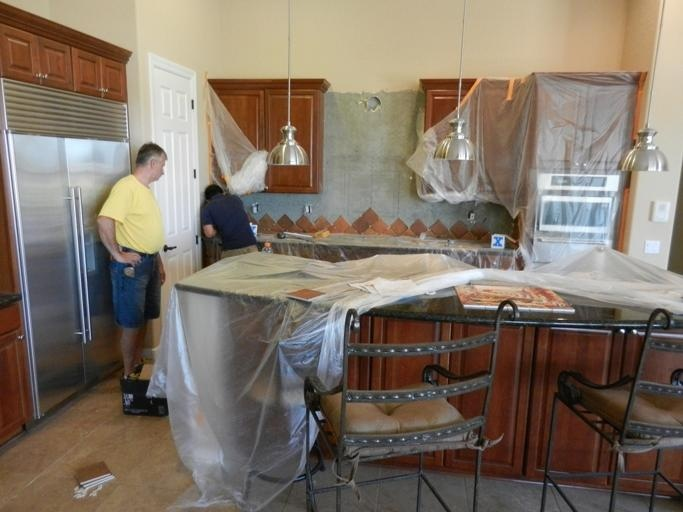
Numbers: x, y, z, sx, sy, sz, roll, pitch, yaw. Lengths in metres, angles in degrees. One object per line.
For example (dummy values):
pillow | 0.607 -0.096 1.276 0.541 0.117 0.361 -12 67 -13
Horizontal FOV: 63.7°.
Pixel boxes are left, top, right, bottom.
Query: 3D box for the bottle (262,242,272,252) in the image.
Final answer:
bottle | -0.757 -0.096 5.651 0.095 0.113 0.098 1 2 4

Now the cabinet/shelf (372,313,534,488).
cabinet/shelf | 0.723 0.971 3.694 0.638 1.148 0.590 21 7 19

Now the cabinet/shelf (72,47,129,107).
cabinet/shelf | -1.889 -1.474 4.469 0.520 0.327 0.173 18 26 15

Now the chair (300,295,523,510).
chair | 0.420 0.800 3.130 0.955 1.566 0.889 -2 20 -7

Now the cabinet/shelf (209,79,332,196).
cabinet/shelf | -0.842 -1.316 6.121 1.206 1.212 0.440 0 20 -5

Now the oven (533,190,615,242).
oven | 2.215 -0.374 5.207 0.765 0.523 0.407 4 9 10
